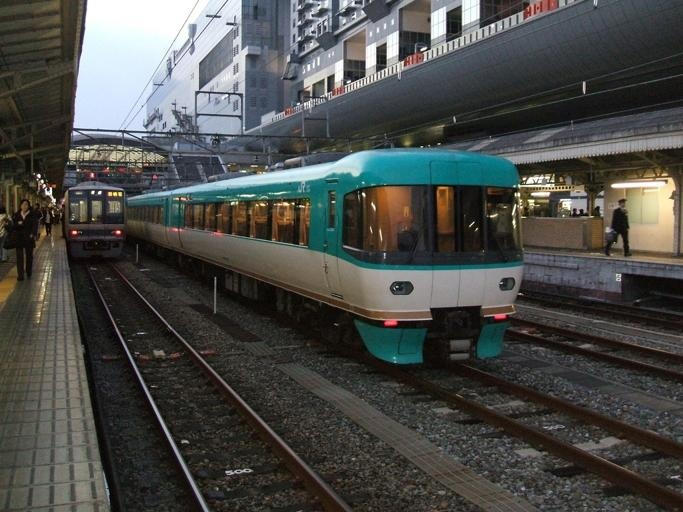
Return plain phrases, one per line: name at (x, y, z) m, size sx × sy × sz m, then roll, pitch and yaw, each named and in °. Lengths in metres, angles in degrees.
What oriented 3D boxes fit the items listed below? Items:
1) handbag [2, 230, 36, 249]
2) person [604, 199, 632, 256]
handbag at (-9.269, -0.481, 15.159) m, size 0.674 × 0.538 × 0.248 m, roll -3°, pitch -5°, yaw -21°
person at (8.764, -0.898, 16.670) m, size 0.676 × 1.798 × 1.166 m, roll -1°, pitch 6°, yaw 20°
